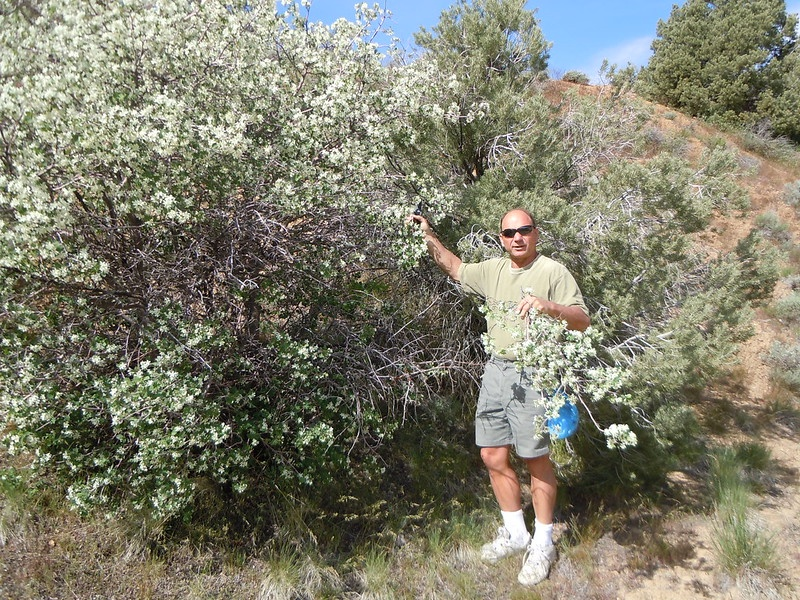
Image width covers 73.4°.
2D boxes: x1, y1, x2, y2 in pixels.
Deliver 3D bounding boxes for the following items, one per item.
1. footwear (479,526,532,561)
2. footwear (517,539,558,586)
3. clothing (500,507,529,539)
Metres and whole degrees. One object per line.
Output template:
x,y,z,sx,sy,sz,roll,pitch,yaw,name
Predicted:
0.945,2.299,4.985,0.568,0.261,0.222,-20,42,29,footwear
1.216,2.320,4.838,0.454,0.200,0.225,-45,25,-25,footwear
1.037,2.030,4.973,0.262,0.356,0.183,-9,4,14,clothing
